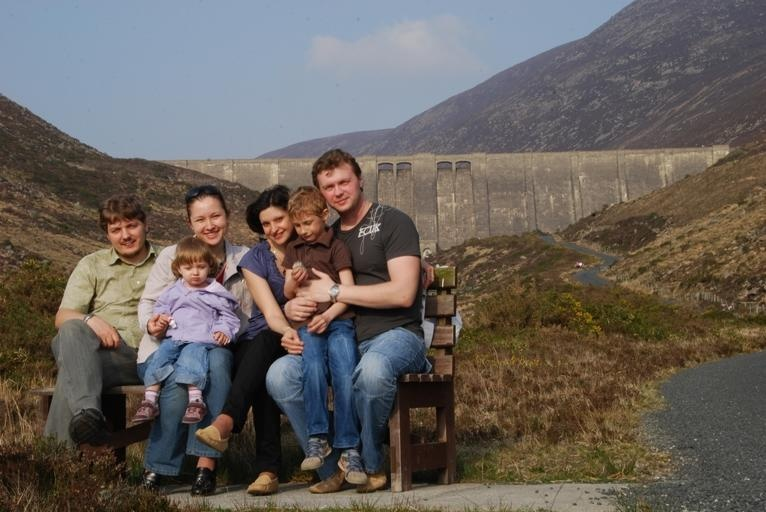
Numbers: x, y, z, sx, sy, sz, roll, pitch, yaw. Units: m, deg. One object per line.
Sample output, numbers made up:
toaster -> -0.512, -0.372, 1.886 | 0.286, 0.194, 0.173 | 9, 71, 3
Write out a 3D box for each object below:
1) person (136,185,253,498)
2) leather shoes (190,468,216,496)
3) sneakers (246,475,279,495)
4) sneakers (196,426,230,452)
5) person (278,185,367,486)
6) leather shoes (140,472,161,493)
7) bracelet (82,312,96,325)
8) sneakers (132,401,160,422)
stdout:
person -> -2.221, 0.843, 7.722 | 1.296, 3.632, 1.048 | -2, -8, -22
leather shoes -> -1.949, 2.436, 7.149 | 0.292, 0.283, 0.225 | -1, -9, -32
sneakers -> -1.278, 2.447, 7.075 | 0.157, 0.138, 0.318 | -10, -22, 22
sneakers -> -1.820, 1.985, 7.070 | 0.194, 0.142, 0.361 | 16, -25, 39
person -> -0.691, 0.852, 7.461 | 0.799, 3.463, 0.691 | -5, -7, 0
leather shoes -> -2.541, 2.438, 7.174 | 0.198, 0.185, 0.444 | -2, -9, -21
bracelet -> -3.498, 0.725, 7.752 | 0.141, 0.129, 0.090 | -17, 46, -41
sneakers -> -2.623, 1.721, 7.303 | 0.141, 0.175, 0.398 | -3, -15, 7
